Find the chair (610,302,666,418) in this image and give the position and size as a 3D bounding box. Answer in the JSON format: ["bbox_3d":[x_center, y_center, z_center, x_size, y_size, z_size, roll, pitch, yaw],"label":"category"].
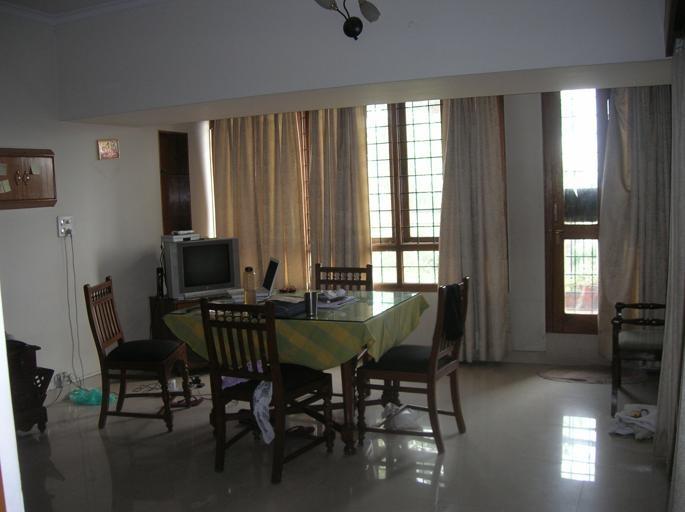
[{"bbox_3d":[2.429,0.752,4.509,0.377,0.798,1.248,4,11,30],"label":"chair"}]

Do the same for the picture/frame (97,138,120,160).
[{"bbox_3d":[-2.338,-1.065,5.394,0.028,0.160,0.207,2,12,24],"label":"picture/frame"}]

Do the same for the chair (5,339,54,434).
[{"bbox_3d":[-2.417,0.997,4.229,0.281,0.713,0.311,-7,10,-31],"label":"chair"}]

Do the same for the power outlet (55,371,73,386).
[{"bbox_3d":[-2.598,1.133,5.055,0.060,0.140,0.182,1,10,17],"label":"power outlet"}]

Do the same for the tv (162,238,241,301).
[{"bbox_3d":[-1.471,0.062,5.745,0.893,0.845,0.535,-3,2,-31],"label":"tv"}]

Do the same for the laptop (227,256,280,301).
[{"bbox_3d":[-0.710,0.237,4.527,0.344,0.310,0.400,4,3,-25],"label":"laptop"}]

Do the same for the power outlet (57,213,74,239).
[{"bbox_3d":[-2.587,-0.285,5.056,0.066,0.223,0.213,1,4,21],"label":"power outlet"}]
